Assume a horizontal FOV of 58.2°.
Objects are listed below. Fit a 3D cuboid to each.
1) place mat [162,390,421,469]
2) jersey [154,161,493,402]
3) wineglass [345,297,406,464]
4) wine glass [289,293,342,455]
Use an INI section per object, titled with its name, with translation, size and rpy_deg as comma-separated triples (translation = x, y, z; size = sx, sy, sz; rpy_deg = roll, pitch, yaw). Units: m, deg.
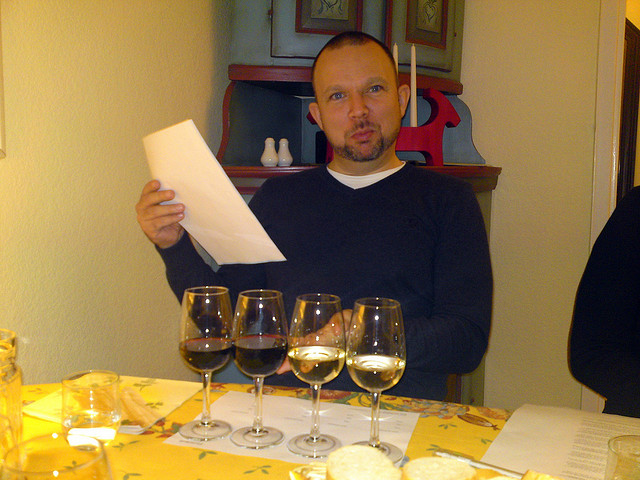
[place mat]
translation = -0.074, 0.365, 1.178
size = 0.513, 0.004, 0.351
rpy_deg = 3, 0, 15
[jersey]
translation = 0.074, 0.120, 1.911
size = 0.896, 0.722, 0.852
rpy_deg = 5, 9, 7
[wineglass]
translation = 0.107, 0.269, 1.113
size = 0.122, 0.294, 0.118
rpy_deg = 2, 2, 16
[wine glass]
translation = -0.005, 0.245, 1.135
size = 0.103, 0.271, 0.206
rpy_deg = -2, 9, 2
